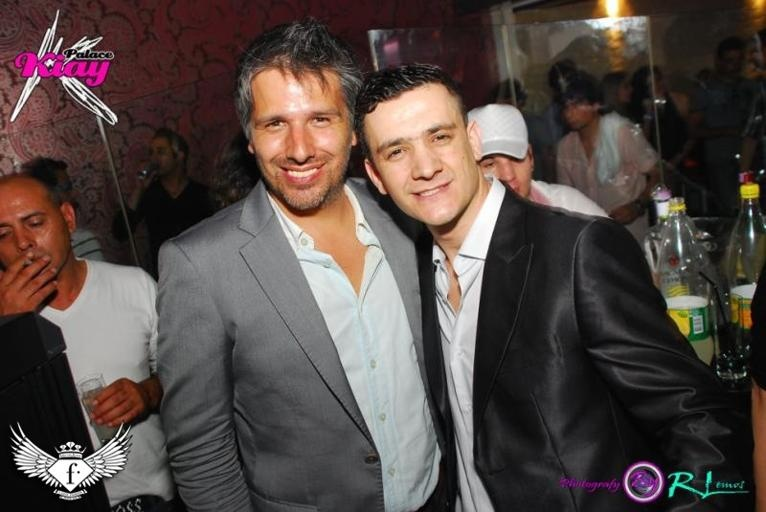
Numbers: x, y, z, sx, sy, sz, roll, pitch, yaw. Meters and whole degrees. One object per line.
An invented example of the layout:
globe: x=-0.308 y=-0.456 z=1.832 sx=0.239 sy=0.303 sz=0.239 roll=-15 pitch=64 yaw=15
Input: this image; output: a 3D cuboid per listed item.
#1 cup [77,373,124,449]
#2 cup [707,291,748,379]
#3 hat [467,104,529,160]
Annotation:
cup: x=-1.212 y=0.658 z=2.307 sx=0.111 sy=0.307 sz=0.217 roll=-14 pitch=6 yaw=-30
cup: x=1.327 y=0.320 z=2.028 sx=0.117 sy=0.306 sz=0.130 roll=8 pitch=-5 yaw=-37
hat: x=0.565 y=-0.643 z=2.617 sx=0.281 sy=0.196 sz=0.397 roll=-8 pitch=21 yaw=14
